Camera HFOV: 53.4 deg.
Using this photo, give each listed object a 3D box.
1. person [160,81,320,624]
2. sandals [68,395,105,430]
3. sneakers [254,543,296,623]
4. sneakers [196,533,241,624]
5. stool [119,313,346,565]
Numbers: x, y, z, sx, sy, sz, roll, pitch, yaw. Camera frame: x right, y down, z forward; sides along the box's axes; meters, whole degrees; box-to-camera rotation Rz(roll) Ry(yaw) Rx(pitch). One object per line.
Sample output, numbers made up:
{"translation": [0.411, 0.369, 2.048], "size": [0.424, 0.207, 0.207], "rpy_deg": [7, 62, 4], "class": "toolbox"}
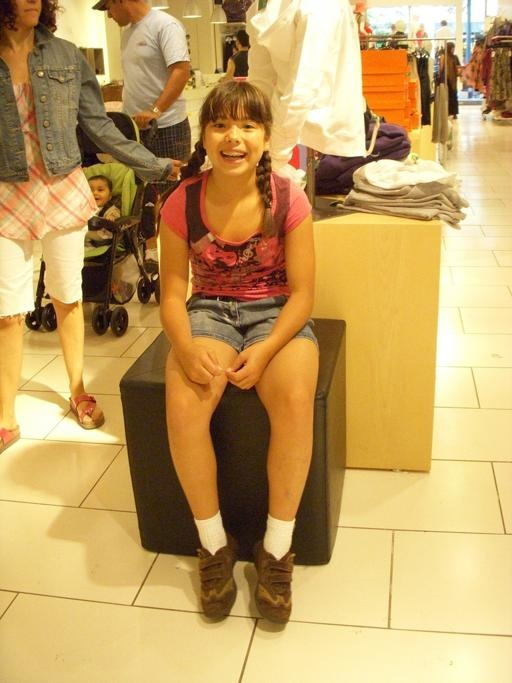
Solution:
{"translation": [-0.051, 0.011, 1.153], "size": [0.375, 1.148, 0.440], "rpy_deg": [-2, 10, 6], "class": "person"}
{"translation": [-0.680, 0.288, 2.075], "size": [0.077, 0.085, 0.198], "rpy_deg": [-18, 27, -24], "class": "sandals"}
{"translation": [0.039, 0.497, 1.084], "size": [0.053, 0.080, 0.175], "rpy_deg": [4, 26, -3], "class": "sneakers"}
{"translation": [-0.073, 0.512, 1.093], "size": [0.056, 0.082, 0.180], "rpy_deg": [-4, 37, 6], "class": "sneakers"}
{"translation": [0.001, 0.237, 1.479], "size": [0.513, 0.621, 0.562], "rpy_deg": [2, 18, 11], "class": "stool"}
